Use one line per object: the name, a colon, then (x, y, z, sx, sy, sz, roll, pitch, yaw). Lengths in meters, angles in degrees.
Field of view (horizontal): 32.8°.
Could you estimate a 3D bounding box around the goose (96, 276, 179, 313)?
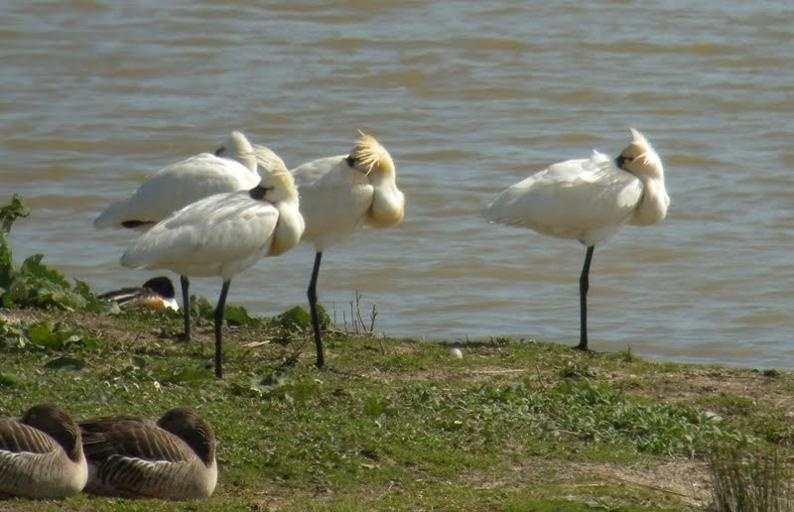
goose: (-5.336, 0.803, 27.085, 1.655, 0.788, 0.796, 9, 6, -32)
